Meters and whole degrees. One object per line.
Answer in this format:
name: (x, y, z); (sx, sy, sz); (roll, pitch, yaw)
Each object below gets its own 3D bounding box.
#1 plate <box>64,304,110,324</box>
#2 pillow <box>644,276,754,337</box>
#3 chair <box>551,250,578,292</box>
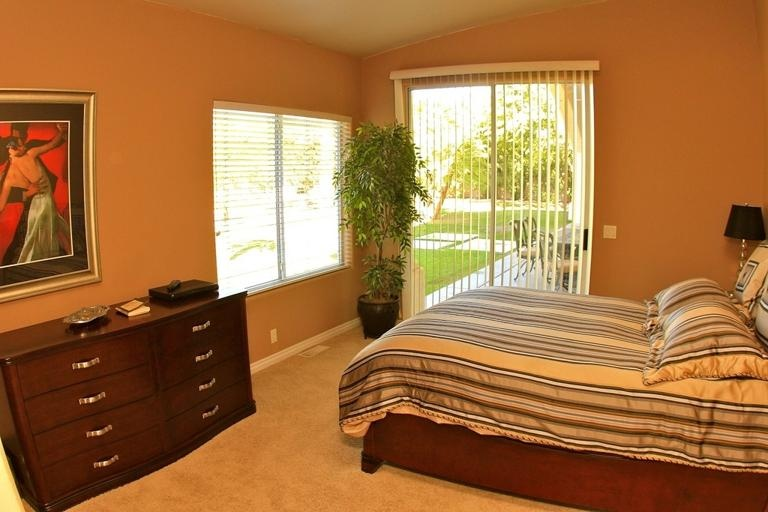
plate: (-2.302, 0.460, 4.446); (0.189, 0.046, 0.168); (-13, 23, -43)
pillow: (2.461, 0.489, 4.537); (0.512, 0.165, 0.600); (-26, 12, 32)
chair: (2.064, 0.184, 6.454); (0.369, 0.568, 0.385); (-1, 3, 9)
